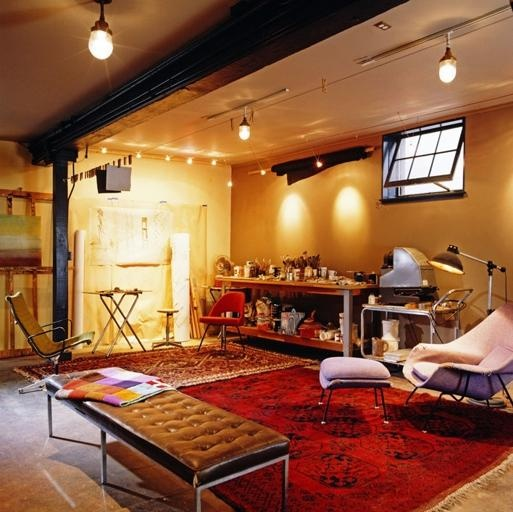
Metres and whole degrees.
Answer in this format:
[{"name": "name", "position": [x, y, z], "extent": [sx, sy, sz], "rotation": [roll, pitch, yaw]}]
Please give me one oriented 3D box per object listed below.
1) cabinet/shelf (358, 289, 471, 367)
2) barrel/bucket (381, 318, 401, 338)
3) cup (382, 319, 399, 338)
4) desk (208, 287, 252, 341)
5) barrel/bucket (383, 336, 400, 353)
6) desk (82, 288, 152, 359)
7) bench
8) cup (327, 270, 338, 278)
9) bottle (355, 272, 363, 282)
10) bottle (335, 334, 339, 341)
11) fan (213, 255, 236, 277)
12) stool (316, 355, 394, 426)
[{"name": "cabinet/shelf", "position": [1.970, 0.842, 5.705], "extent": [0.935, 1.049, 1.373], "rotation": [0, 2, -44]}, {"name": "barrel/bucket", "position": [1.669, 0.924, 5.719], "extent": [0.237, 0.217, 0.217], "rotation": [1, -2, 0]}, {"name": "cup", "position": [1.683, 0.908, 5.680], "extent": [0.235, 0.216, 0.216], "rotation": [1, -3, 0]}, {"name": "desk", "position": [-0.394, 0.753, 6.799], "extent": [0.470, 0.428, 0.437], "rotation": [-4, -6, 29]}, {"name": "barrel/bucket", "position": [1.675, 1.109, 5.648], "extent": [0.222, 0.220, 0.198], "rotation": [-2, -5, -2]}, {"name": "desk", "position": [-2.104, 0.979, 7.091], "extent": [1.199, 1.029, 0.982], "rotation": [2, -2, -35]}, {"name": "bench", "position": [-0.425, 1.161, 2.599], "extent": [0.631, 0.658, 1.166], "rotation": [0, 0, -42]}, {"name": "cup", "position": [1.091, 0.270, 6.579], "extent": [0.094, 0.152, 0.164], "rotation": [3, -2, -39]}, {"name": "bottle", "position": [1.443, 0.306, 6.403], "extent": [0.130, 0.111, 0.113], "rotation": [0, -3, 11]}, {"name": "bottle", "position": [1.124, 1.138, 6.289], "extent": [0.068, 0.100, 0.077], "rotation": [0, 0, 14]}, {"name": "fan", "position": [-0.643, 0.202, 8.861], "extent": [0.422, 0.366, 0.146], "rotation": [-19, 2, -13]}, {"name": "stool", "position": [0.843, 1.176, 4.077], "extent": [0.624, 0.407, 0.574], "rotation": [1, -3, 0]}]
